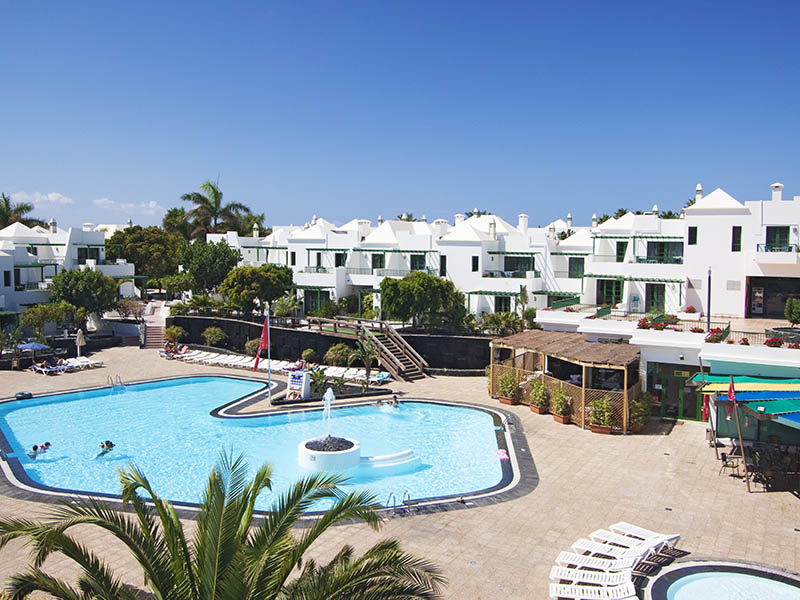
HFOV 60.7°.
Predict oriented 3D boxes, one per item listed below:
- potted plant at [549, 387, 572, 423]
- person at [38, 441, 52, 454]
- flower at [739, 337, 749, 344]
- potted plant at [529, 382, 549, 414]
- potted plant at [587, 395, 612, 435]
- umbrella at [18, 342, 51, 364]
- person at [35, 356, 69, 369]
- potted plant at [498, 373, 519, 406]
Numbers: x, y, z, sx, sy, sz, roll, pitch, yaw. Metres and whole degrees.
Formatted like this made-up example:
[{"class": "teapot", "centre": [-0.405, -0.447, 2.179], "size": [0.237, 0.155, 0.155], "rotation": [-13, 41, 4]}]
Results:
[{"class": "potted plant", "centre": [8.143, 5.274, 34.422], "size": [0.743, 1.878, 1.639], "rotation": [1, 1, -11]}, {"class": "person", "centre": [-16.163, 6.593, 30.856], "size": [0.545, 0.441, 0.905], "rotation": [-4, 7, -27]}, {"class": "flower", "centre": [16.201, 1.909, 32.140], "size": [0.400, 0.183, 0.429], "rotation": [3, 6, 8]}, {"class": "potted plant", "centre": [7.355, 5.107, 35.877], "size": [0.766, 1.750, 1.360], "rotation": [-2, 7, -10]}, {"class": "potted plant", "centre": [9.663, 5.435, 32.665], "size": [1.047, 1.671, 0.600], "rotation": [1, 7, 16]}, {"class": "umbrella", "centre": [-25.856, 3.474, 48.014], "size": [1.560, 1.195, 1.569], "rotation": [0, 16, -20]}, {"class": "person", "centre": [-24.304, 4.238, 47.466], "size": [1.270, 0.477, 0.976], "rotation": [2, 2, 29]}, {"class": "potted plant", "centre": [6.081, 4.906, 37.875], "size": [1.123, 1.499, 0.763], "rotation": [1, 6, 9]}]
